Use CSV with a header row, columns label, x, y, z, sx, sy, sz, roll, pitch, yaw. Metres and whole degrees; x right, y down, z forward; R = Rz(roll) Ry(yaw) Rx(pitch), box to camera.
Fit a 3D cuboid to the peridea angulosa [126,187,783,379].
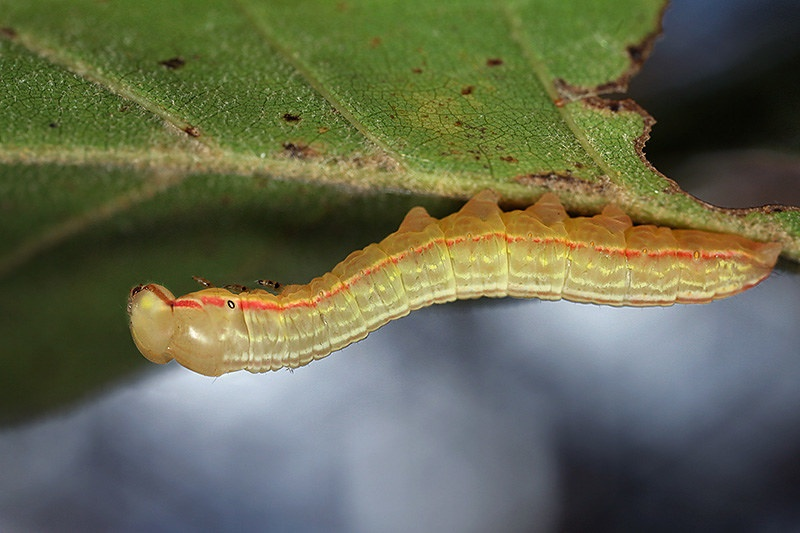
label,x,y,z,sx,sy,sz,roll,pitch,yaw
peridea angulosa,0.226,0.021,3.817,3.102,0.325,0.719,-11,62,1
